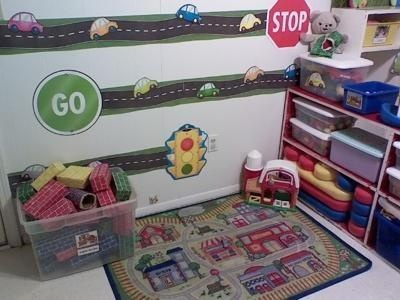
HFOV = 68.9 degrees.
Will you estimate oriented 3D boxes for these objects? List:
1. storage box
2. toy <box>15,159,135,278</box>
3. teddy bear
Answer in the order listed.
[{"bbox_3d":[-0.664,0.451,1.698,0.684,0.492,0.419,-11,35,-19],"label":"storage box"},{"bbox_3d":[-0.639,0.346,1.749,0.589,0.532,0.604,-10,34,-17],"label":"toy"},{"bbox_3d":[0.810,-0.742,1.894,0.281,0.289,0.234,1,13,-5],"label":"teddy bear"}]
